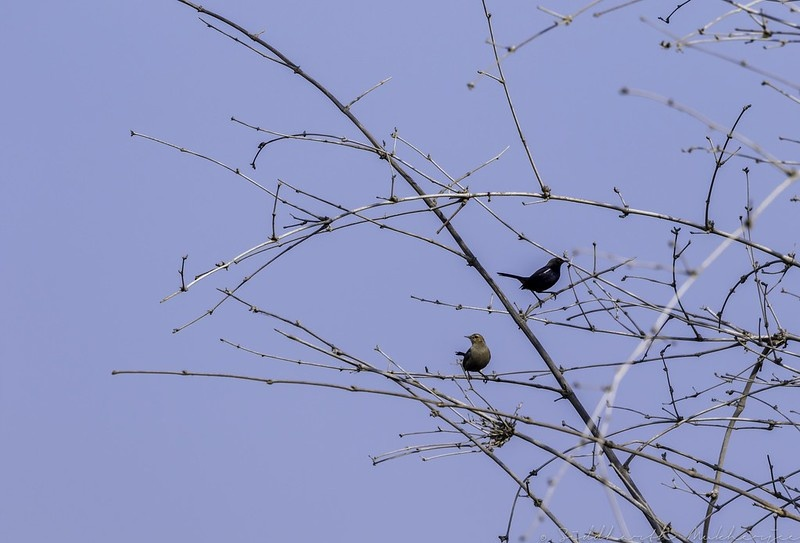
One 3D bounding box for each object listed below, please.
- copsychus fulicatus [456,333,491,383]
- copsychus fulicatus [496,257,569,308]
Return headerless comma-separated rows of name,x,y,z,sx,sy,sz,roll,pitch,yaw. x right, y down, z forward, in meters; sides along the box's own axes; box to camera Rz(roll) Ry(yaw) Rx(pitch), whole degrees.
copsychus fulicatus,0.793,0.907,13.153,0.299,0.589,0.451,1,-92,-17
copsychus fulicatus,1.449,0.067,12.916,0.764,0.251,0.474,-2,-83,20
